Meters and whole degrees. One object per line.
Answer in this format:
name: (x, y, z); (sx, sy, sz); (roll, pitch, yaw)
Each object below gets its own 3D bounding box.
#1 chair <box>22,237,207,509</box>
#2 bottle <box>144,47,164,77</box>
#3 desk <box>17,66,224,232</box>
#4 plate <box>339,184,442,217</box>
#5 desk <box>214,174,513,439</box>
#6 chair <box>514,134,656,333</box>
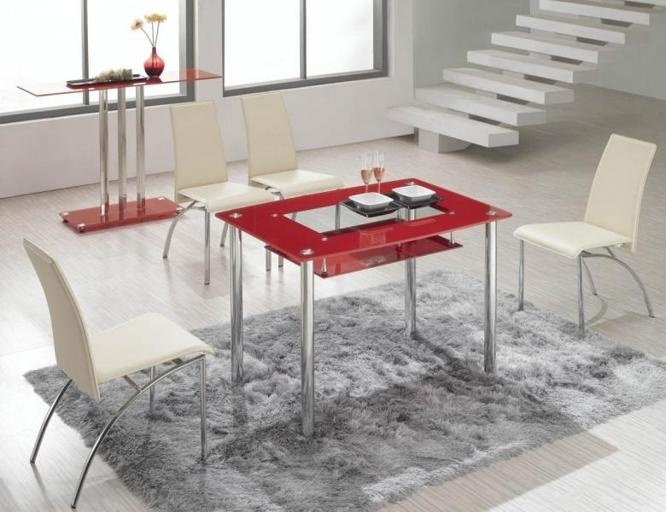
chair: (-1.071, 0.585, 2.836); (0.967, 1.149, 0.598); (-16, 39, -31)
bottle: (-1.596, -1.714, 5.148); (0.163, 0.257, 0.311); (-9, 23, -15)
desk: (-1.875, -1.006, 5.213); (1.694, 1.129, 0.522); (-6, 22, -35)
plate: (0.335, -0.300, 3.158); (0.399, 0.055, 0.238); (-11, 24, -25)
desk: (0.183, 0.236, 3.035); (1.319, 0.731, 0.916); (-12, 16, -37)
chair: (1.656, -0.172, 3.736); (0.776, 0.990, 0.648); (-20, 23, -9)
